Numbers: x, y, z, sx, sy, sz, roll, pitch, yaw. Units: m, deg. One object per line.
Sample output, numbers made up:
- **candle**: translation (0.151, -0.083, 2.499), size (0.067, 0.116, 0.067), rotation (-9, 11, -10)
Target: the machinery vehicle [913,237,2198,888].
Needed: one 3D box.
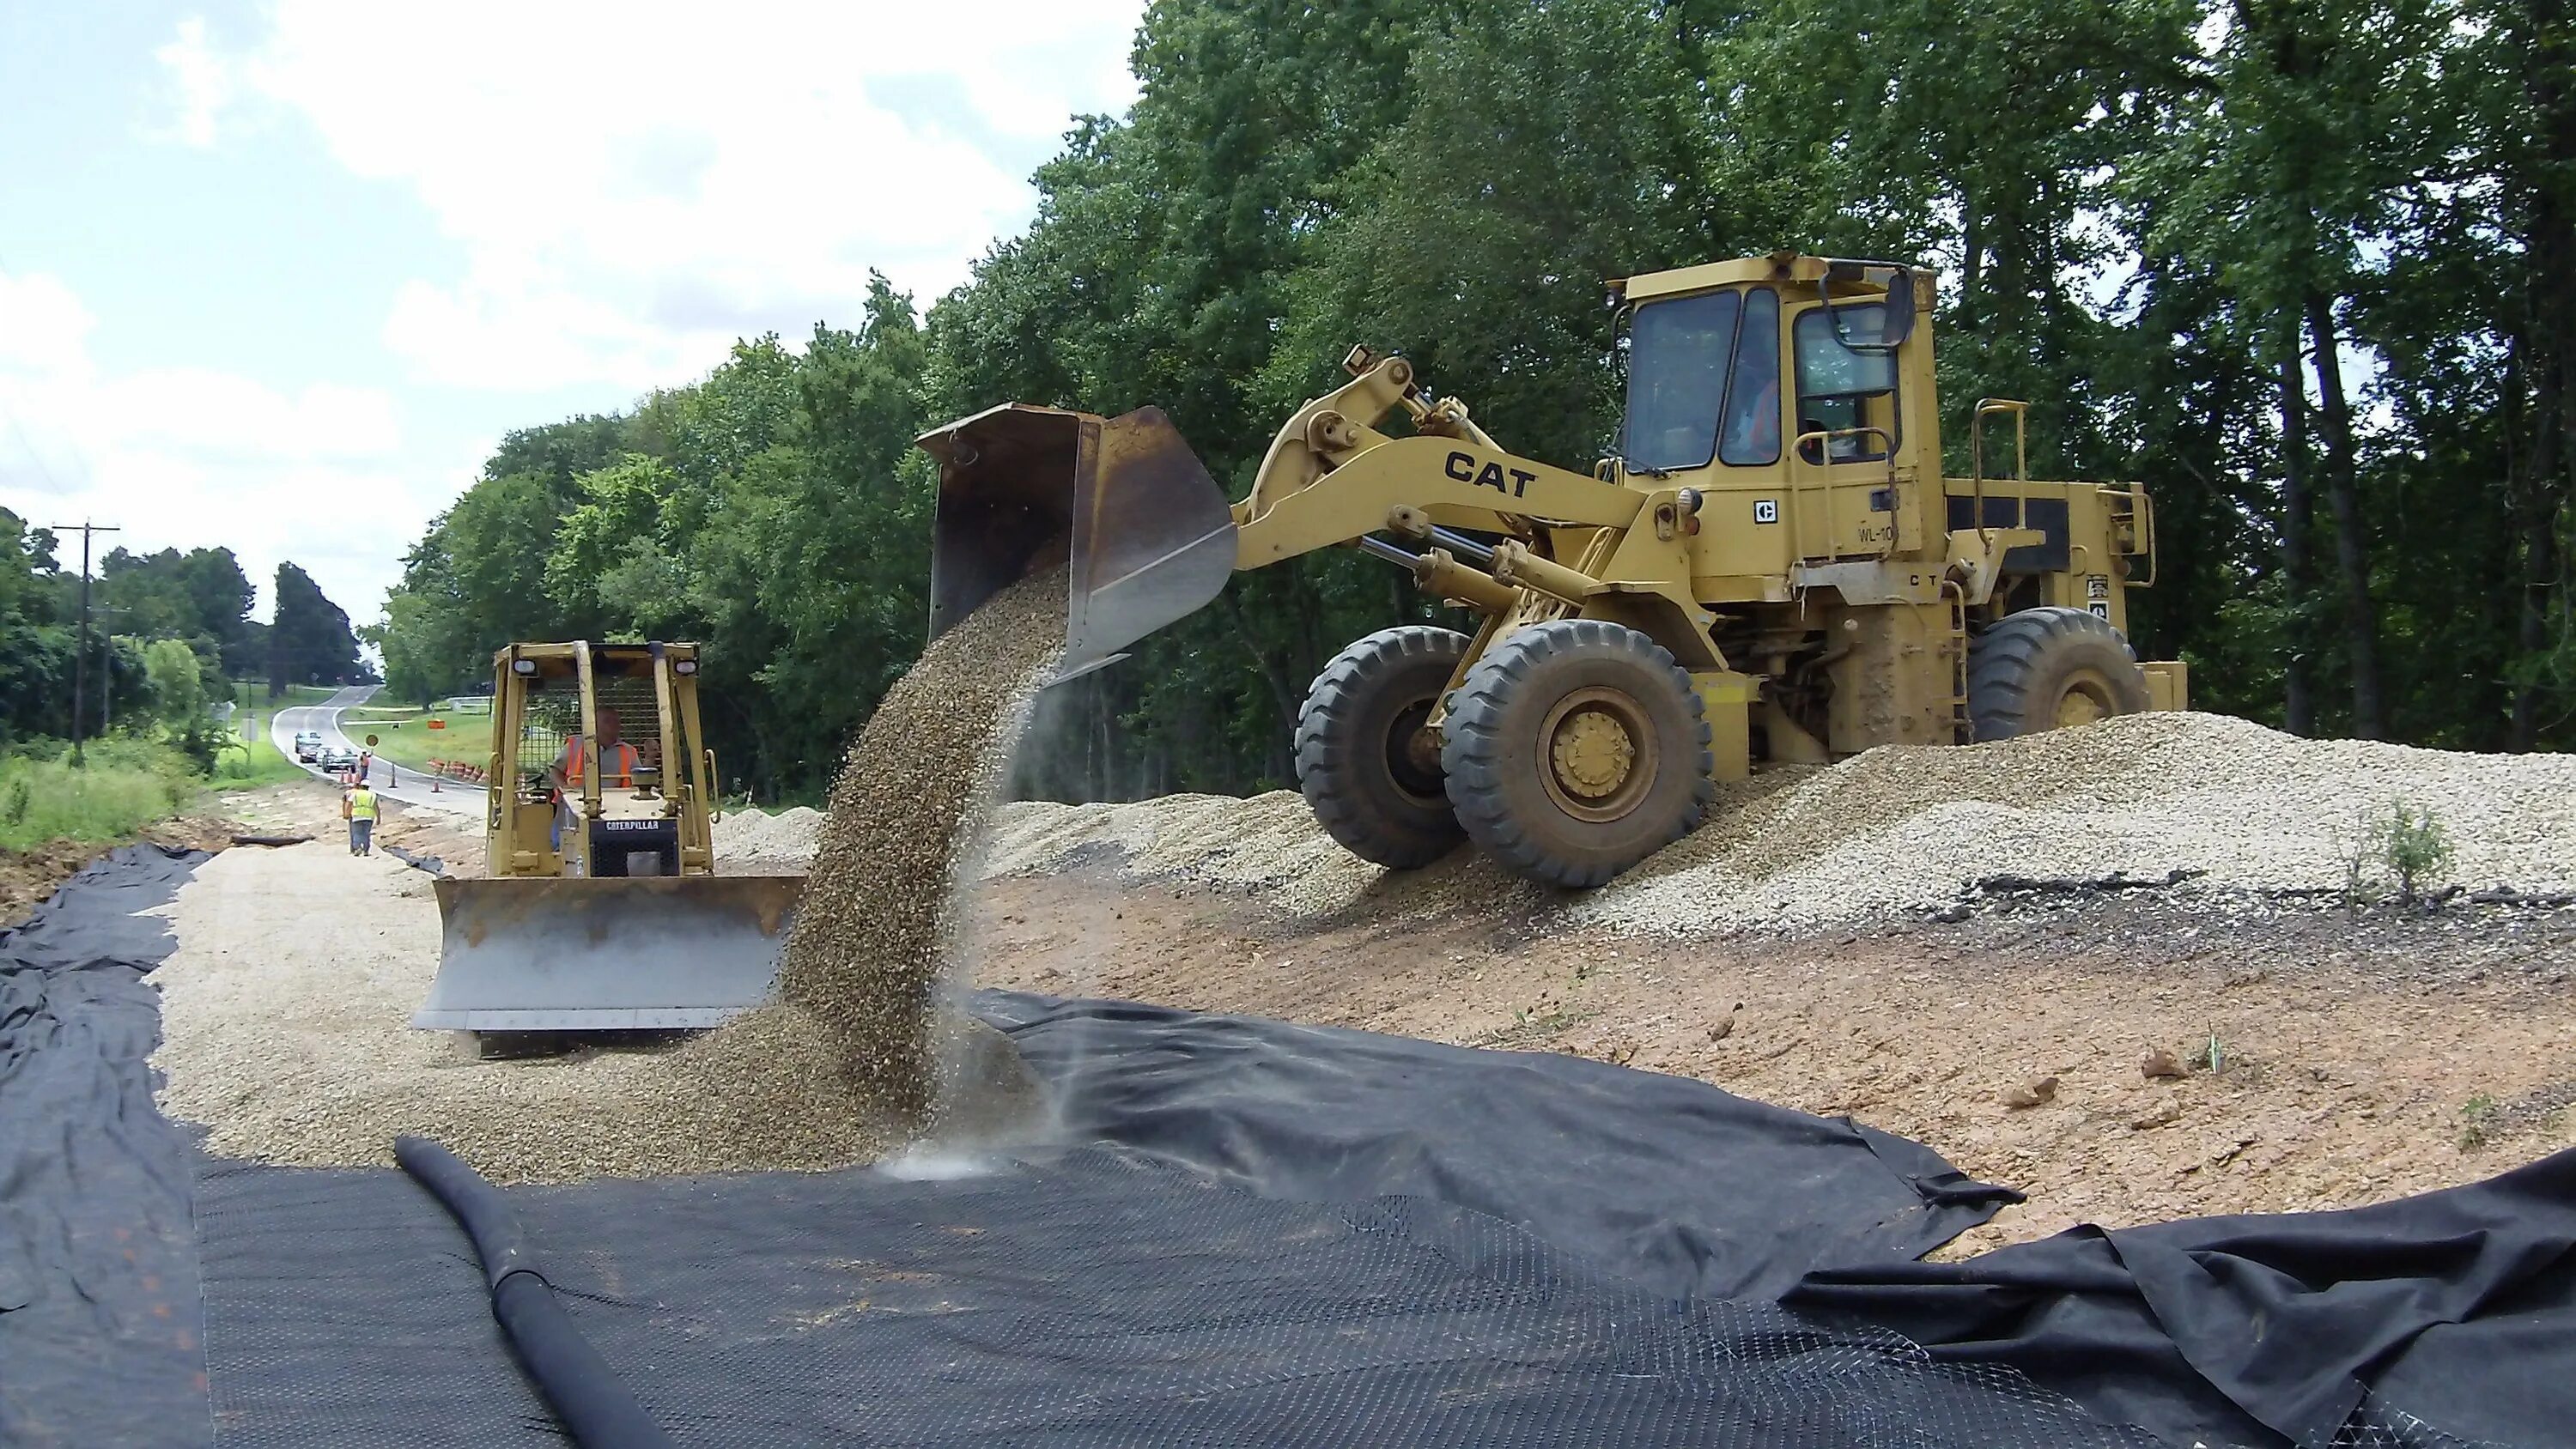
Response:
- **machinery vehicle**: translation (2.556, -1.487, 23.822), size (13.839, 6.943, 5.426), rotation (1, 0, -24)

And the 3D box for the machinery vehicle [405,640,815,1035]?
- **machinery vehicle**: translation (-6.813, 1.273, 22.089), size (2.712, 2.828, 5.287), rotation (1, -8, -22)

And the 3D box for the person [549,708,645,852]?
- **person**: translation (-7.455, 0.647, 24.049), size (1.027, 2.086, 0.563), rotation (-6, 46, -30)
